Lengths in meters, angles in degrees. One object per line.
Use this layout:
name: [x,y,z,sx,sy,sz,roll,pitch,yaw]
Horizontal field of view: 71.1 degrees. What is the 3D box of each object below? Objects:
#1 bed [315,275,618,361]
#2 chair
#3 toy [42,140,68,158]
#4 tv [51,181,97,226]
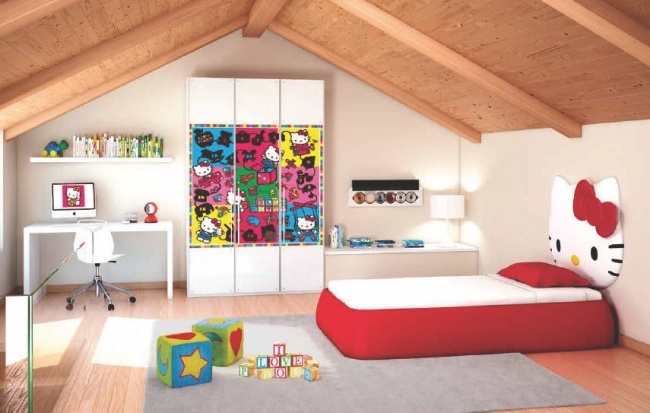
bed: [1.499,1.186,4.928,2.194,0.440,1.193,-1,1,-9]
chair: [-3.100,0.803,6.541,1.266,1.233,1.101,0,0,-16]
toy: [-3.906,-0.811,6.675,0.337,0.201,0.238,-27,-3,-5]
tv: [-3.674,-0.032,6.607,0.705,0.580,0.228,-1,-3,-10]
